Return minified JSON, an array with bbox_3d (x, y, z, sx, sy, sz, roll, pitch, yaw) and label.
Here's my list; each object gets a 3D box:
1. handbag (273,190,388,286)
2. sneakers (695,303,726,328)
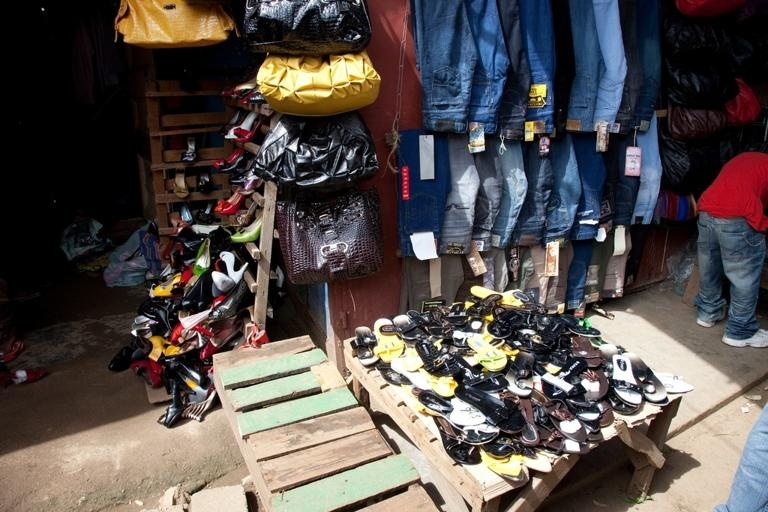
[{"bbox_3d":[-0.430,-0.164,4.185,0.762,0.749,0.362,-8,1,-5],"label":"handbag"},{"bbox_3d":[3.484,0.614,5.499,0.429,0.195,0.150,-21,32,-26],"label":"sneakers"}]
